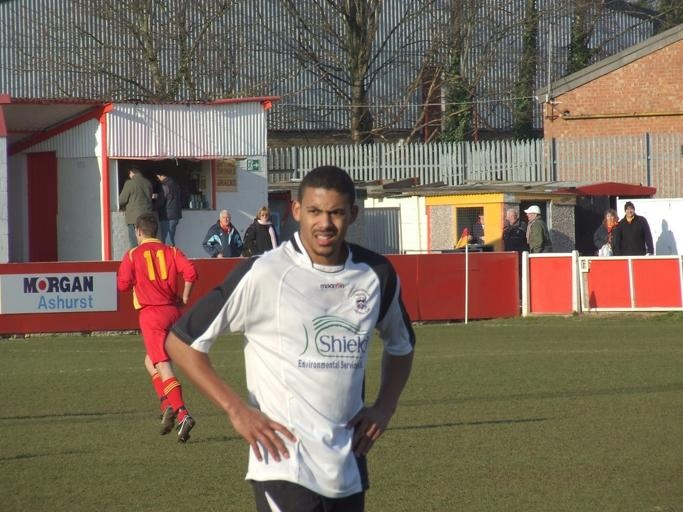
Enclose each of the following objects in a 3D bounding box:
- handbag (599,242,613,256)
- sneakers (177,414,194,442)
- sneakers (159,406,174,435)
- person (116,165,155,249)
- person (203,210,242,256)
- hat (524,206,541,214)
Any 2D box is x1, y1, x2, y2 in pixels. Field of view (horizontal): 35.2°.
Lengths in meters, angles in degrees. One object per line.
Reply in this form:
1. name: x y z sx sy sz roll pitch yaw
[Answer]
1. handbag: 6.016 -0.161 24.257 0.164 0.429 0.237 12 16 34
2. sneakers: -1.912 2.033 12.890 0.137 0.439 0.206 -3 32 -32
3. sneakers: -2.169 2.006 13.217 0.116 0.394 0.187 10 36 -1
4. person: -4.763 -1.047 24.577 0.690 2.240 0.620 -17 33 -36
5. person: -2.612 -0.332 23.855 0.812 1.312 0.578 3 -13 -27
6. hat: 4.374 -1.054 24.618 0.404 0.262 0.333 2 1 14
